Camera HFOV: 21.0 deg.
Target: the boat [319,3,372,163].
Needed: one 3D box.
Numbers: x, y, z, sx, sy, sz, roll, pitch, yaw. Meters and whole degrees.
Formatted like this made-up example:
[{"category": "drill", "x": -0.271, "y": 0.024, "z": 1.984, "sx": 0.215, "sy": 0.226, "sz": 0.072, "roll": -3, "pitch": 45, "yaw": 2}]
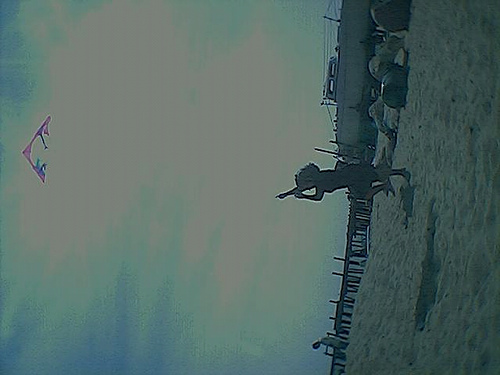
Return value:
[{"category": "boat", "x": 1.661, "y": -1.837, "z": 21.975, "sx": 0.520, "sy": 0.753, "sz": 3.015, "roll": 5, "pitch": -79, "yaw": 35}]
